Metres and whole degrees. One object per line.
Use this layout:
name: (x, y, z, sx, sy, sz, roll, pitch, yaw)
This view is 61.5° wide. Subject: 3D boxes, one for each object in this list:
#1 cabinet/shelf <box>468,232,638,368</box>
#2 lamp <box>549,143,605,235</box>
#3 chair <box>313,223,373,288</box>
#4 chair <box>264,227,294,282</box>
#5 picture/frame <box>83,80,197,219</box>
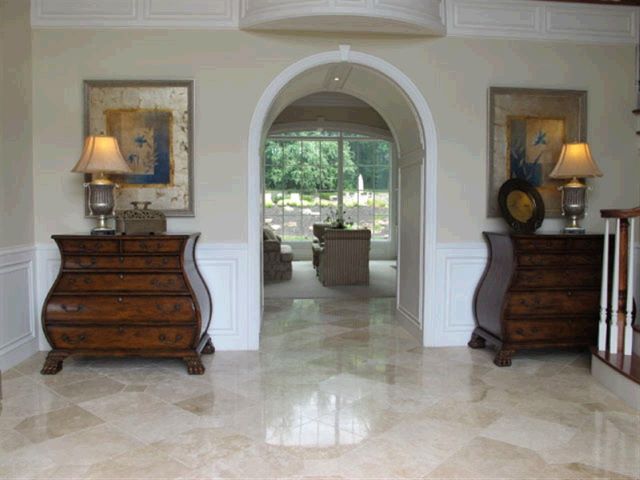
cabinet/shelf: (2.370, 0.620, 5.819, 1.278, 1.162, 0.763, 1, 4, -14)
lamp: (2.753, -0.565, 5.821, 0.489, 0.927, 0.653, 4, 12, 22)
chair: (0.409, 0.297, 10.090, 0.806, 1.117, 1.510, -1, 10, -7)
chair: (-0.859, 0.212, 11.103, 0.670, 0.817, 1.993, 1, 6, -3)
picture/frame: (-1.912, -1.011, 5.656, 1.541, 1.884, 0.079, -1, -2, -3)
